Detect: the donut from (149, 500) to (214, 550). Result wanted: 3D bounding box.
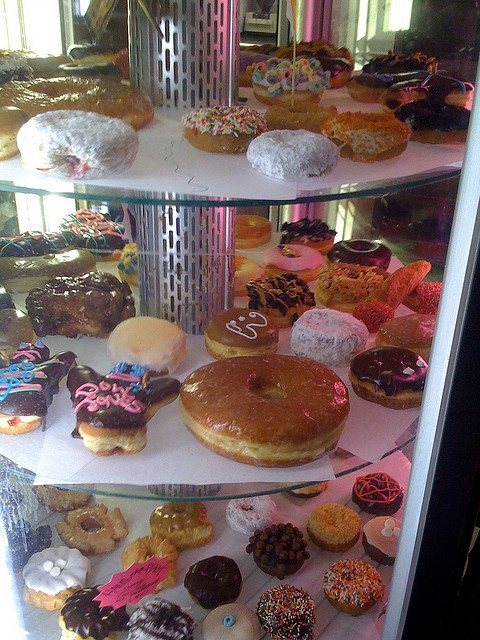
[{"bbox_3d":[-0.141,0.485,1.161,0.137,0.078,0.128,-3,17,-16],"label":"donut"}]

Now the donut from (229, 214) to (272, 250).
[{"bbox_3d":[0.038,-0.247,1.359,0.112,0.037,0.104,-11,28,-19],"label":"donut"}]

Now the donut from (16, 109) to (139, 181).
[{"bbox_3d":[-0.205,-0.214,0.587,0.127,0.080,0.108,13,26,29],"label":"donut"}]

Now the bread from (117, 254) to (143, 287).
[{"bbox_3d":[-0.237,-0.105,1.022,0.067,0.058,0.021,3,8,11],"label":"bread"}]

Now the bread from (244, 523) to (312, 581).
[{"bbox_3d":[0.095,0.526,1.114,0.126,0.058,0.115,1,26,-9],"label":"bread"}]

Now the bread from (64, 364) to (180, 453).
[{"bbox_3d":[-0.179,0.111,0.707,0.131,0.035,0.121,8,26,-5],"label":"bread"}]

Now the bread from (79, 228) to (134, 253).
[{"bbox_3d":[-0.301,-0.170,1.046,0.072,0.021,0.068,5,19,20],"label":"bread"}]

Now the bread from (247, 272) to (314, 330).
[{"bbox_3d":[0.093,-0.059,1.089,0.126,0.046,0.133,2,25,2],"label":"bread"}]

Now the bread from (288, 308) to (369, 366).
[{"bbox_3d":[0.161,0.021,0.914,0.120,0.051,0.113,-9,26,-22],"label":"bread"}]

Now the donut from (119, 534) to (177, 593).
[{"bbox_3d":[-0.210,0.540,1.111,0.149,0.049,0.131,6,16,1],"label":"donut"}]

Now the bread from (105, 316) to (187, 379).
[{"bbox_3d":[-0.161,0.039,0.817,0.111,0.057,0.102,7,21,3],"label":"bread"}]

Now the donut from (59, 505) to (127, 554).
[{"bbox_3d":[-0.356,0.502,1.165,0.111,0.028,0.108,-6,25,-39],"label":"donut"}]

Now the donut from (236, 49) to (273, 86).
[{"bbox_3d":[0.017,-0.626,1.180,0.091,0.033,0.107,3,52,6],"label":"donut"}]

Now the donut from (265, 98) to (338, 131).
[{"bbox_3d":[0.101,-0.358,0.855,0.105,0.037,0.103,6,27,15],"label":"donut"}]

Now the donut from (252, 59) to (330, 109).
[{"bbox_3d":[0.097,-0.486,1.035,0.156,0.064,0.159,0,33,0],"label":"donut"}]

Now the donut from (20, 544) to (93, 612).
[{"bbox_3d":[-0.419,0.568,1.095,0.140,0.080,0.137,-1,22,-19],"label":"donut"}]

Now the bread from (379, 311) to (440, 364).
[{"bbox_3d":[0.326,0.021,0.926,0.120,0.044,0.107,-4,21,0],"label":"bread"}]

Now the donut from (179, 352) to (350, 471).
[{"bbox_3d":[0.042,0.132,0.726,0.255,0.086,0.211,-3,22,-9],"label":"donut"}]
